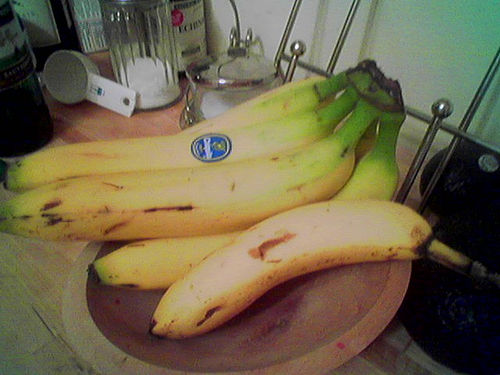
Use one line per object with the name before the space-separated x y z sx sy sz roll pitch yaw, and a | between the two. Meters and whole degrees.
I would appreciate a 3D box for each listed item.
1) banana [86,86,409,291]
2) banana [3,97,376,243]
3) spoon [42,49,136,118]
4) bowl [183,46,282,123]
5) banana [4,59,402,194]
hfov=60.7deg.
banana | 0.009 0.008 0.598 0.348 0.235 0.091 -19 50 -4
banana | -0.081 -0.022 0.617 0.433 0.165 0.094 -12 46 -7
spoon | -0.345 -0.224 0.960 0.202 0.121 0.049 32 13 -1
bowl | -0.016 -0.197 0.791 0.162 0.168 0.161 -4 23 2
banana | -0.078 -0.099 0.695 0.429 0.155 0.111 -13 44 -5
